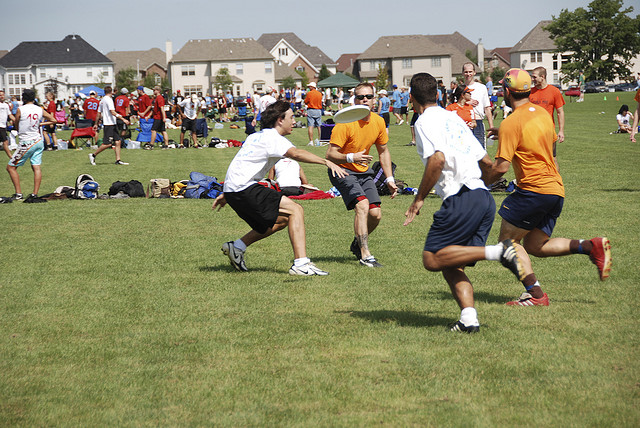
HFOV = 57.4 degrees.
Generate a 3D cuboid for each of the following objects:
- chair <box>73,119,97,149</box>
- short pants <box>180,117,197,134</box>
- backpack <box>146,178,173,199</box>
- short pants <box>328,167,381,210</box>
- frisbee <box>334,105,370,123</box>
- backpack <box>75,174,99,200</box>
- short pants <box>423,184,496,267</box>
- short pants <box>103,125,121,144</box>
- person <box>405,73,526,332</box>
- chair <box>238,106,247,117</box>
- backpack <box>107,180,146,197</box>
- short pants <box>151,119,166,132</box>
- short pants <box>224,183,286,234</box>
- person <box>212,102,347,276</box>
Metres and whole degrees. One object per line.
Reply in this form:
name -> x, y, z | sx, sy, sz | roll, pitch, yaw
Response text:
chair -> -10.679, -3.656, 26.602 | 1.103, 1.338, 1.049 | -1, 12, 2
short pants -> -5.494, -3.750, 24.623 | 0.524, 0.622, 0.794 | -6, 13, -20
backpack -> -4.041, -0.645, 14.580 | 0.540, 0.485, 0.506 | 0, 3, 33
short pants -> 0.531, -0.380, 8.798 | 0.715, 0.653, 0.510 | -4, 12, -9
frisbee -> 0.451, -1.454, 8.494 | 0.663, 0.255, 0.373 | -7, 13, -24
backpack -> -5.743, -0.683, 14.387 | 0.489, 0.575, 0.648 | 3, -16, -34
short pants -> 1.485, 0.002, 6.056 | 0.650, 0.801, 0.520 | -13, 25, -26
short pants -> -6.889, -2.641, 19.244 | 0.321, 0.608, 0.678 | 0, 12, 7
person -> 1.467, -0.184, 6.330 | 1.060, 2.633, 1.471 | 0, 12, 8
chair -> -5.550, -7.358, 41.993 | 0.873, 0.745, 0.759 | 2, 5, -33
backpack -> -4.853, -0.634, 14.676 | 0.869, 0.351, 0.485 | -4, 12, -13
short pants -> -6.892, -3.873, 25.081 | 0.673, 0.615, 0.382 | 0, -7, 2
short pants -> -0.851, -0.184, 8.082 | 0.839, 0.479, 0.426 | 28, 39, -16
person -> -0.679, -0.330, 8.078 | 1.542, 2.376, 0.572 | 2, 13, 18
